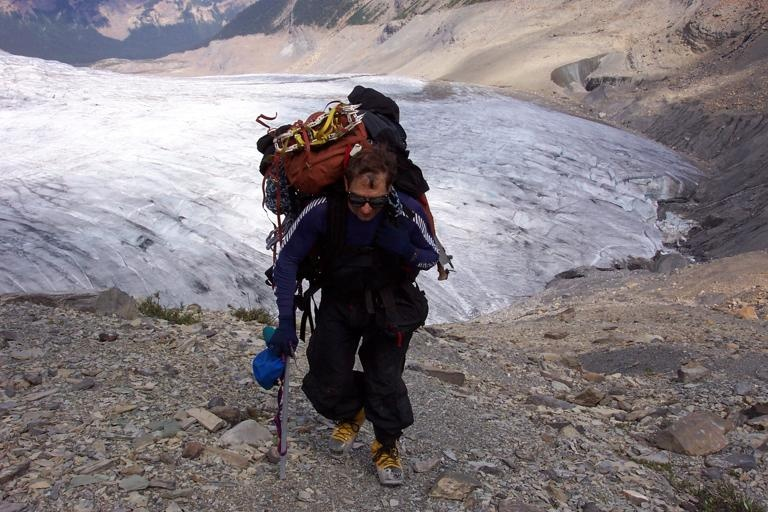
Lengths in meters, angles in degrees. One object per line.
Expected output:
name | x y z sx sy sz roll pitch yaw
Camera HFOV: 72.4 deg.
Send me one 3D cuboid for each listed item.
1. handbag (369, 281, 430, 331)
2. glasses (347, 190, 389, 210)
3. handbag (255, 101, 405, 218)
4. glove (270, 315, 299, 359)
handbag | 0.035 0.462 4.958 0.763 0.412 0.430 -6 6 -12
glasses | -0.130 -0.474 4.504 0.354 0.138 0.129 6 36 -5
handbag | -0.501 -0.808 4.884 1.703 0.511 1.062 -11 56 -1
glove | -0.884 0.731 4.739 0.238 0.334 0.334 13 -7 -13
